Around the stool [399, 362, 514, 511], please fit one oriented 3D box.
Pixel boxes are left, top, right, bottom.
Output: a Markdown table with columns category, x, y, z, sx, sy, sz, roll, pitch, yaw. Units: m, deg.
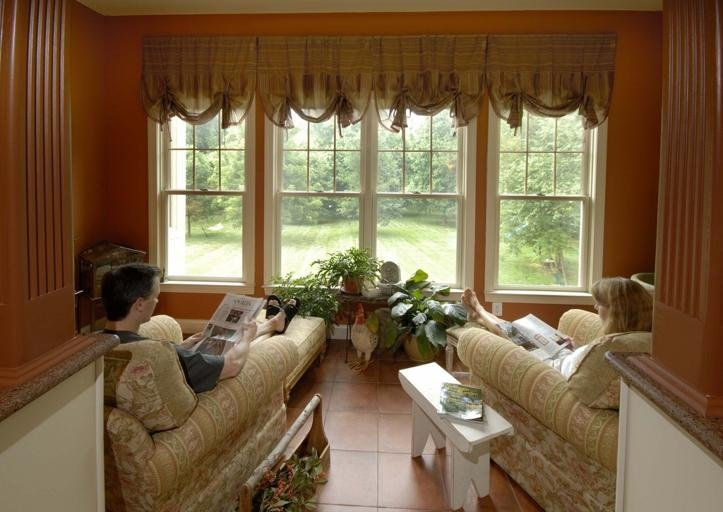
| category | x | y | z | sx | sy | sz | roll | pitch | yaw |
| --- | --- | --- | --- | --- | --- | --- | --- | --- | --- |
| stool | 0.550 | 1.019 | 2.991 | 0.221 | 0.419 | 0.675 | -2 | 11 | -19 |

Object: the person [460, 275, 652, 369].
| category | x | y | z | sx | sy | sz | roll | pitch | yaw |
| --- | --- | --- | --- | --- | --- | --- | --- | --- | --- |
| person | 1.079 | 0.357 | 3.247 | 0.500 | 0.487 | 1.169 | -16 | 7 | -32 |

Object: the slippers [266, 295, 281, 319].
| category | x | y | z | sx | sy | sz | roll | pitch | yaw |
| --- | --- | --- | --- | --- | --- | --- | --- | --- | --- |
| slippers | -0.675 | 0.375 | 4.102 | 0.093 | 0.065 | 0.237 | -5 | 23 | -2 |

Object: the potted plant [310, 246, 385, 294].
| category | x | y | z | sx | sy | sz | roll | pitch | yaw |
| --- | --- | --- | --- | --- | --- | --- | --- | --- | --- |
| potted plant | -0.105 | 0.106 | 5.129 | 0.620 | 0.404 | 0.476 | 2 | 12 | 2 |

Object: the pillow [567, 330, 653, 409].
| category | x | y | z | sx | sy | sz | roll | pitch | yaw |
| --- | --- | --- | --- | --- | --- | --- | --- | --- | --- |
| pillow | 1.161 | 0.525 | 2.559 | 0.172 | 0.381 | 0.370 | 33 | -3 | -7 |

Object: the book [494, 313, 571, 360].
| category | x | y | z | sx | sy | sz | roll | pitch | yaw |
| --- | --- | --- | --- | --- | --- | --- | --- | --- | --- |
| book | 1.166 | 0.527 | 3.537 | 0.266 | 0.104 | 0.279 | -16 | 25 | -26 |

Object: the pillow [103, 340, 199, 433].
| category | x | y | z | sx | sy | sz | roll | pitch | yaw |
| --- | --- | --- | --- | --- | --- | --- | --- | --- | --- |
| pillow | -0.945 | 0.587 | 2.398 | 0.380 | 0.406 | 0.123 | -3 | 12 | -21 |

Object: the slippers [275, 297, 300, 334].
| category | x | y | z | sx | sy | sz | roll | pitch | yaw |
| --- | --- | --- | --- | --- | --- | --- | --- | --- | --- |
| slippers | -0.540 | 0.408 | 3.926 | 0.108 | 0.282 | 0.083 | -1 | -31 | 35 |

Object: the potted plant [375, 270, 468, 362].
| category | x | y | z | sx | sy | sz | roll | pitch | yaw |
| --- | --- | --- | --- | --- | --- | --- | --- | --- | --- |
| potted plant | 0.541 | 0.482 | 4.609 | 0.626 | 0.585 | 0.829 | 1 | -2 | 14 |

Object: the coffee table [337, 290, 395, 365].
| category | x | y | z | sx | sy | sz | roll | pitch | yaw |
| --- | --- | --- | --- | --- | --- | --- | --- | --- | --- |
| coffee table | 0.041 | 0.641 | 5.014 | 0.536 | 0.832 | 0.510 | -1 | 2 | 19 |

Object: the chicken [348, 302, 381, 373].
| category | x | y | z | sx | sy | sz | roll | pitch | yaw |
| --- | --- | --- | --- | --- | --- | --- | --- | --- | --- |
| chicken | 0.033 | 0.687 | 4.728 | 0.230 | 0.535 | 0.208 | 8 | 19 | 12 |
